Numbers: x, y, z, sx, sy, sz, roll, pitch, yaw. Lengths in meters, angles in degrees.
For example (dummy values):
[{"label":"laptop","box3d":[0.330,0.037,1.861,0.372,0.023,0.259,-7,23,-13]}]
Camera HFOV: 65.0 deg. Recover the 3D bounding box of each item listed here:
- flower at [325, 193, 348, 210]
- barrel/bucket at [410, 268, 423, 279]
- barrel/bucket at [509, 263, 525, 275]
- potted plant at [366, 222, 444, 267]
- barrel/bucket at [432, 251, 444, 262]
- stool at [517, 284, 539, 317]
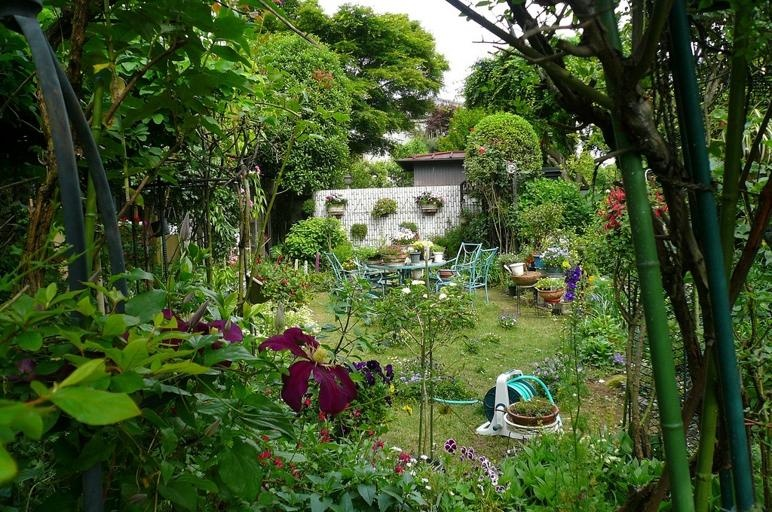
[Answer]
[{"label":"flower","box3d":[-0.951,-1.106,11.905,0.447,0.314,0.255,2,-3,-11]},{"label":"barrel/bucket","box3d":[0.471,0.243,8.969,0.139,0.106,0.145,-1,2,0]},{"label":"barrel/bucket","box3d":[1.591,0.147,7.343,0.159,0.123,0.131,-8,2,43]},{"label":"potted plant","box3d":[0.369,-0.151,9.417,0.838,0.444,0.742,-2,4,15]},{"label":"barrel/bucket","box3d":[0.773,-0.011,8.926,0.150,0.118,0.128,-5,6,4]},{"label":"stool","box3d":[1.792,0.553,7.717,0.352,0.519,0.369,0,-1,2]}]
